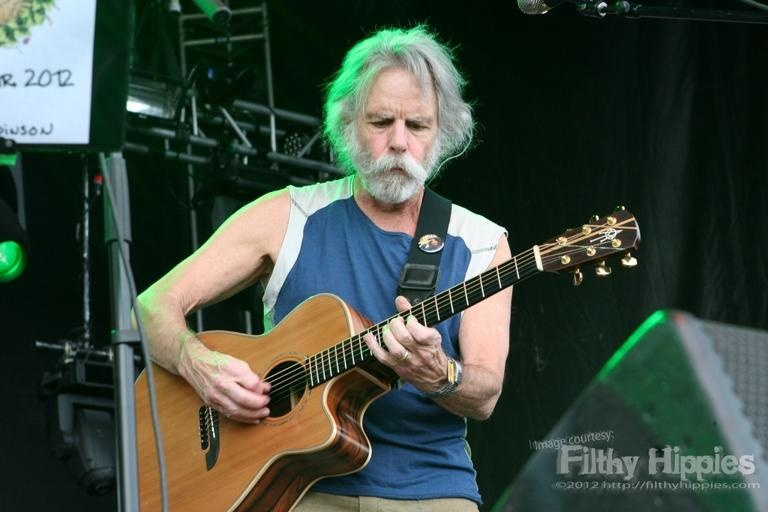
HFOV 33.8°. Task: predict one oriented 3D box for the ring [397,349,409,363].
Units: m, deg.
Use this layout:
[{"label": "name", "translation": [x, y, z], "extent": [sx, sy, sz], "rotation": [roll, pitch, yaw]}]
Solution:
[{"label": "ring", "translation": [0.094, 0.464, 5.856], "extent": [0.050, 0.053, 0.030], "rotation": [2, 2, -11]}]
